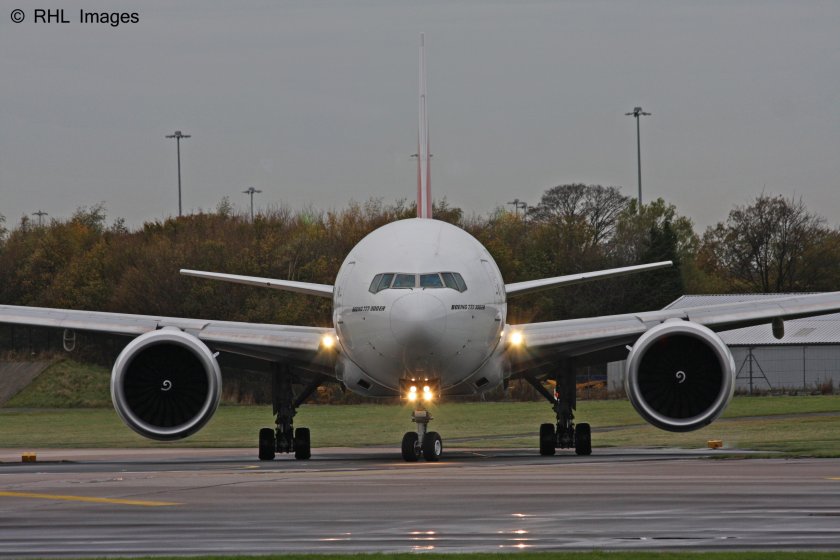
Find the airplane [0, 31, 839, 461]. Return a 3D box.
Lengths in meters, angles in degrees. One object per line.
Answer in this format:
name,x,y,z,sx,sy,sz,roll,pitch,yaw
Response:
airplane,0.214,0.608,36.684,15.927,8.205,5.155,1,4,-9
